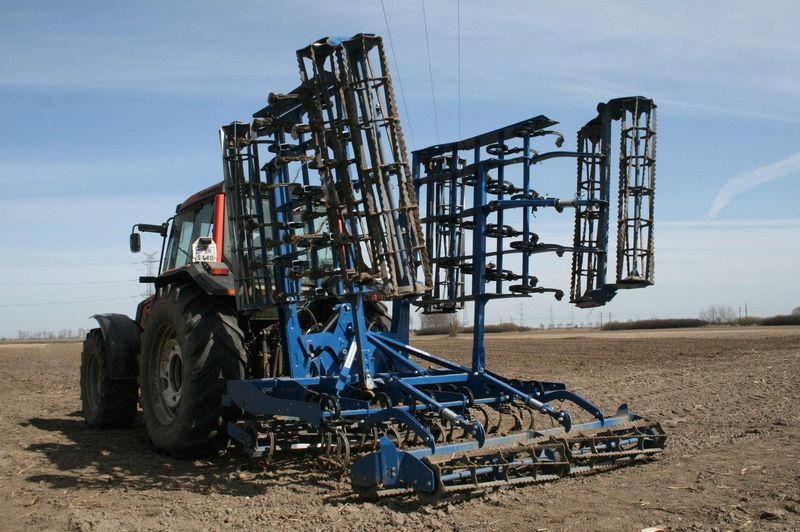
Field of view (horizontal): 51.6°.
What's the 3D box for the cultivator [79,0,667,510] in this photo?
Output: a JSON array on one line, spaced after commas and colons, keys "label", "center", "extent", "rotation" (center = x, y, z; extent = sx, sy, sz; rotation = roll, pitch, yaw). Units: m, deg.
[{"label": "cultivator", "center": [-0.159, 0.319, 10.402], "extent": [4.011, 4.311, 7.750], "rotation": [3, -2, -41]}]
